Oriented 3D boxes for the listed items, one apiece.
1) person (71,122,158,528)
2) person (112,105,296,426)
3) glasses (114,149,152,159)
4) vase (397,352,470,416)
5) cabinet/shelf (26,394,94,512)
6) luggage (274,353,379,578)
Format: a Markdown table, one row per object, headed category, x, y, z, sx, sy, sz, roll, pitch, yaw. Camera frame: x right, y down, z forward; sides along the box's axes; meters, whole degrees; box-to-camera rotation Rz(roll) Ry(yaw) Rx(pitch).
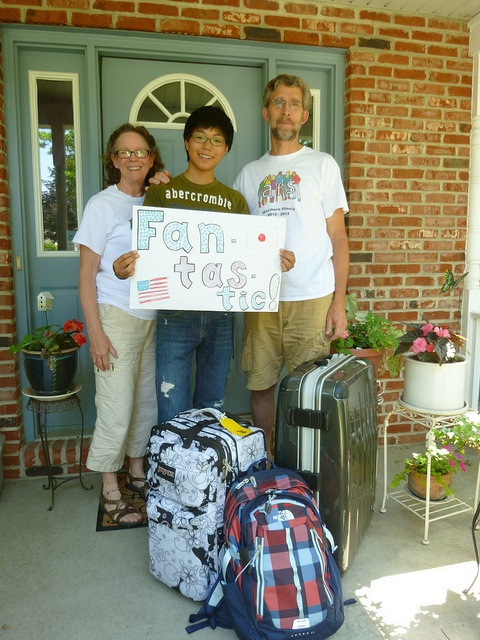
| category | x | y | z | sx | sy | sz | roll | pitch | yaw |
| --- | --- | --- | --- | --- | --- | --- | --- | --- | --- |
| person | -0.497 | 0.006 | 2.430 | 0.496 | 1.526 | 0.453 | -3 | 8 | -29 |
| person | -0.118 | -0.091 | 2.149 | 0.730 | 1.408 | 0.477 | -2 | 5 | -17 |
| glasses | -0.420 | -0.641 | 2.159 | 0.134 | 0.038 | 0.051 | -1 | 10 | -7 |
| vase | 0.770 | 0.243 | 2.206 | 0.225 | 0.177 | 0.218 | 3 | 6 | 23 |
| cabinet/shelf | -0.825 | 0.578 | 2.559 | 0.255 | 0.528 | 0.275 | -10 | 7 | -38 |
| luggage | 0.315 | 0.507 | 2.019 | 0.263 | 0.673 | 0.475 | 2 | 3 | 25 |
